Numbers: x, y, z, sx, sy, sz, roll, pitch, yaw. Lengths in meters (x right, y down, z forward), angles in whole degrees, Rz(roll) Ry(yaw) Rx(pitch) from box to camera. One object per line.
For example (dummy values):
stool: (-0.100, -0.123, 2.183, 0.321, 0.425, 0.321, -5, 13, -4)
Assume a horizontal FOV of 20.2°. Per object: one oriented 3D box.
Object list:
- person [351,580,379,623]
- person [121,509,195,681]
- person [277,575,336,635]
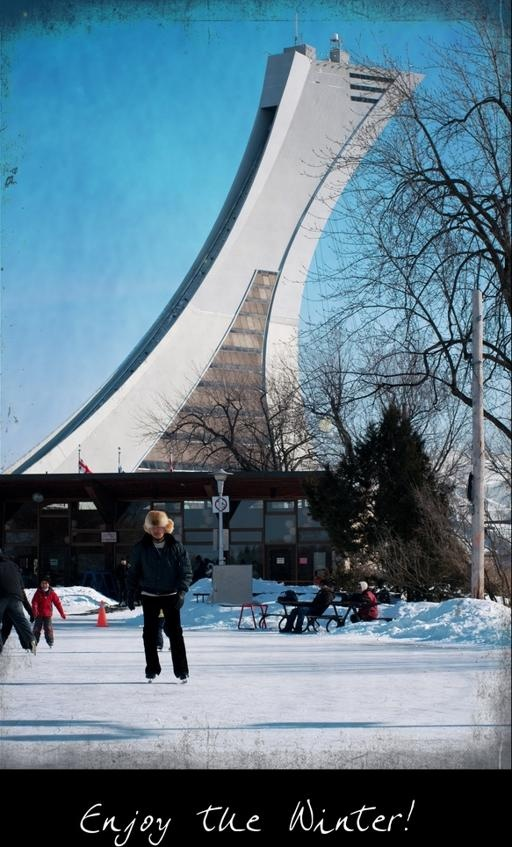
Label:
person: (1.798, 2.997, 24.051, 0.460, 0.741, 1.074, -1, 8, 4)
person: (-0.907, 1.633, 13.528, 0.587, 1.696, 0.643, -2, 7, -3)
person: (0.836, 3.037, 24.069, 0.837, 1.100, 1.642, -1, 8, 2)
